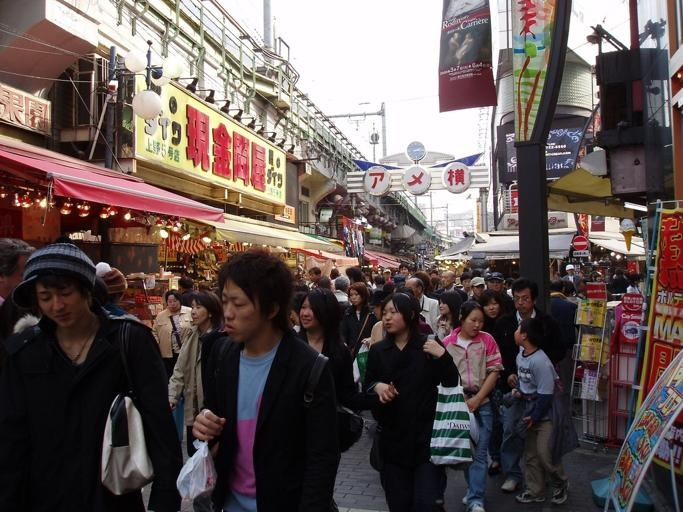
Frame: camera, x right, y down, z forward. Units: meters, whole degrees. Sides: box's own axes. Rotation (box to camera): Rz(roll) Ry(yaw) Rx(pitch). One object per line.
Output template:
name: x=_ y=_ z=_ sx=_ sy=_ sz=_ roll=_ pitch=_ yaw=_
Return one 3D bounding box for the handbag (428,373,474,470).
handbag: x=0.871 y=1.329 z=4.430 sx=0.350 sy=0.621 sz=0.260 roll=0 pitch=-2 yaw=0

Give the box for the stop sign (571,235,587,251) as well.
stop sign: x=7.729 y=-0.434 z=18.121 sx=0.360 sy=0.363 sz=0.059 roll=-49 pitch=-24 yaw=24

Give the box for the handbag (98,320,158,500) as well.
handbag: x=-1.160 y=0.839 z=3.055 sx=0.264 sy=0.953 sz=0.267 roll=1 pitch=-2 yaw=-25

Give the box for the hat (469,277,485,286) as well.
hat: x=2.146 y=0.367 z=8.749 sx=0.160 sy=0.131 sz=0.235 roll=1 pitch=-14 yaw=0

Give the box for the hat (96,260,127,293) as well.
hat: x=-2.258 y=0.220 z=5.507 sx=0.252 sy=0.307 sz=0.916 roll=1 pitch=-2 yaw=-23

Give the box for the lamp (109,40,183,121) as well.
lamp: x=-3.652 y=-3.289 z=10.455 sx=1.101 sy=1.600 sz=1.192 roll=5 pitch=3 yaw=39

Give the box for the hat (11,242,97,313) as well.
hat: x=-1.575 y=0.140 z=3.133 sx=0.413 sy=0.324 sz=0.310 roll=3 pitch=-34 yaw=-27

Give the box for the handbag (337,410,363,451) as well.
handbag: x=0.065 y=1.255 z=3.982 sx=0.159 sy=0.370 sz=0.468 roll=0 pitch=-2 yaw=4

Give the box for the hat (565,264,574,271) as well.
hat: x=7.915 y=0.381 z=19.366 sx=0.275 sy=0.187 sz=0.288 roll=-12 pitch=-5 yaw=-18
